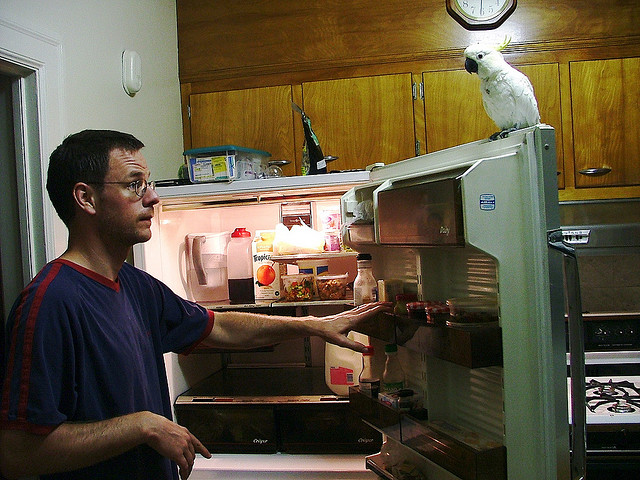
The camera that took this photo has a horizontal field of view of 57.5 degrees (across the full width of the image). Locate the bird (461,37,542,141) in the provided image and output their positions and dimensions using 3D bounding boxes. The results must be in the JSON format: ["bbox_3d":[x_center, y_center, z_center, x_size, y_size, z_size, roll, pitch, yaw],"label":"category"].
[{"bbox_3d":[0.577,-0.442,1.799,0.306,0.305,0.153,-3,0,-28],"label":"bird"}]

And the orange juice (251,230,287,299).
[{"bbox_3d":[-0.237,0.122,2.786,0.134,0.318,0.115,-1,2,18],"label":"orange juice"}]
